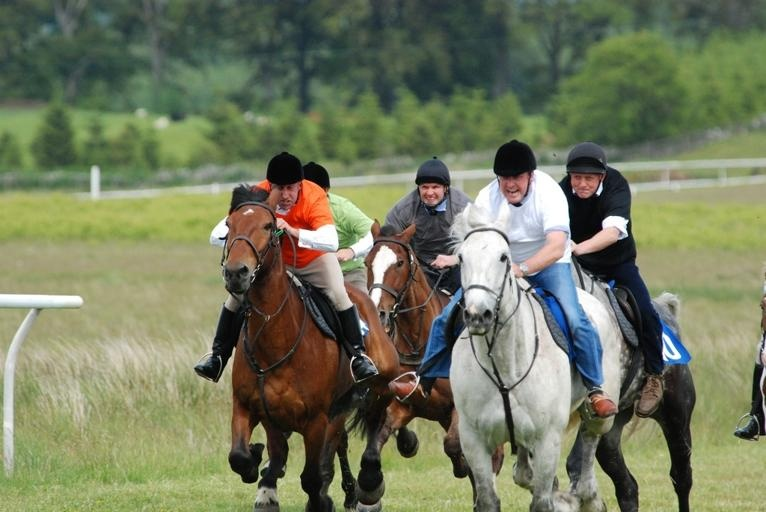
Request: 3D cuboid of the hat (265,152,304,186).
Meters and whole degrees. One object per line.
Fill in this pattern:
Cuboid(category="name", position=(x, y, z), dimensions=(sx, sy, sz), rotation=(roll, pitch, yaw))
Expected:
Cuboid(category="hat", position=(-1.878, -1.610, 29.957), dimensions=(0.675, 0.608, 0.262), rotation=(-3, 4, -6))

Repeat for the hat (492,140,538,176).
Cuboid(category="hat", position=(2.526, -1.794, 29.583), dimensions=(0.558, 0.480, 0.767), rotation=(1, 8, 16))
